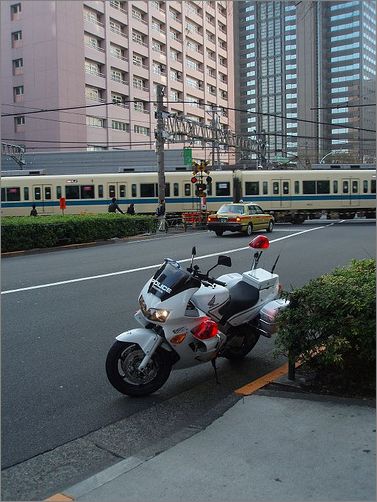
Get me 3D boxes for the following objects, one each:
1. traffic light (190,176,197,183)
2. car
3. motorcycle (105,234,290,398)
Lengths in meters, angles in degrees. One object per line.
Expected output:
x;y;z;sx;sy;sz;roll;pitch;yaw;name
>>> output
0.296;-4.844;28.511;0.417;0.407;0.092;-6;5;-26;traffic light
3.008;-1.806;23.559;3.712;1.763;1.505;-7;8;-36;car
0.169;0.611;4.136;2.170;1.279;0.902;-7;16;-43;motorcycle
